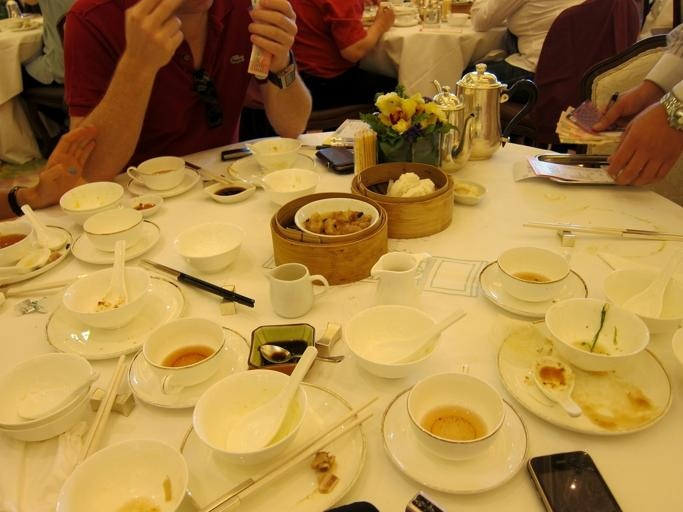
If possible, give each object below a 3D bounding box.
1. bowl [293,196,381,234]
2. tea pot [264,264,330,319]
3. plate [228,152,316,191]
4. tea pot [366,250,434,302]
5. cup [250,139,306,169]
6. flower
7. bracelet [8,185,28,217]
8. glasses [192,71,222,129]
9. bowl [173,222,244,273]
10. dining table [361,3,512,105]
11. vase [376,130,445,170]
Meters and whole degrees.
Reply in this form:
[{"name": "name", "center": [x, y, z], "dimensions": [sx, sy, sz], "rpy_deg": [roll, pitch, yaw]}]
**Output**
[{"name": "bowl", "center": [-0.019, -0.134, 1.851], "dimensions": [0.181, 0.047, 0.191], "rpy_deg": [-3, 28, 2]}, {"name": "tea pot", "center": [-0.128, 0.114, 1.653], "dimensions": [0.206, 0.152, 0.131], "rpy_deg": [0, 38, 2]}, {"name": "plate", "center": [-0.409, -0.416, 2.530], "dimensions": [0.261, 0.039, 0.272], "rpy_deg": [12, 31, 22]}, {"name": "tea pot", "center": [0.184, 0.054, 1.699], "dimensions": [0.189, 0.197, 0.143], "rpy_deg": [-9, 47, -4]}, {"name": "cup", "center": [-0.312, -0.509, 2.505], "dimensions": [0.159, 0.143, 0.215], "rpy_deg": [-2, 30, 3]}, {"name": "flower", "center": [0.300, -0.564, 2.247], "dimensions": [0.331, 0.263, 0.353], "rpy_deg": [-7, 33, -4]}, {"name": "bracelet", "center": [-1.378, -0.243, 2.221], "dimensions": [0.052, 0.148, 0.132], "rpy_deg": [-7, 74, -18]}, {"name": "glasses", "center": [-0.728, -0.851, 2.821], "dimensions": [0.083, 0.296, 0.052], "rpy_deg": [-23, 54, -14]}, {"name": "bowl", "center": [-0.466, 0.000, 1.861], "dimensions": [0.190, 0.096, 0.208], "rpy_deg": [-7, 27, 3]}, {"name": "dining table", "center": [0.824, -1.823, 4.665], "dimensions": [1.235, 0.386, 1.467], "rpy_deg": [13, 47, 28]}, {"name": "vase", "center": [0.368, -0.489, 2.364], "dimensions": [0.257, 0.151, 0.270], "rpy_deg": [1, 5, 23]}]
